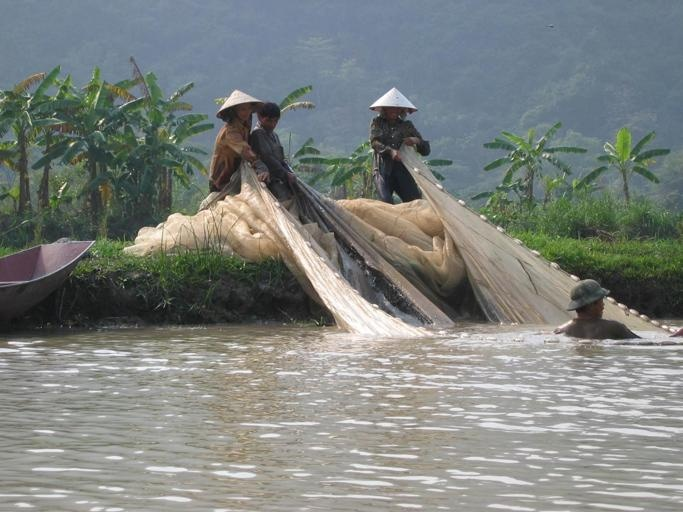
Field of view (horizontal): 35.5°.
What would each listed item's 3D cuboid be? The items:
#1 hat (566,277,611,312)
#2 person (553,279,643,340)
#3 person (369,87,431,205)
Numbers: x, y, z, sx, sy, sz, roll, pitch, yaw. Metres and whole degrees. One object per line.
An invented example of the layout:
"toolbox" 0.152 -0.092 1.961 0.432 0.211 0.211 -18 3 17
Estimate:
"hat" 2.695 0.398 11.660 0.389 0.167 0.345 -27 11 -26
"person" 2.776 0.621 11.815 0.633 0.699 1.246 0 -6 -43
"person" 0.794 -1.572 15.479 0.850 1.696 1.084 -10 11 11
